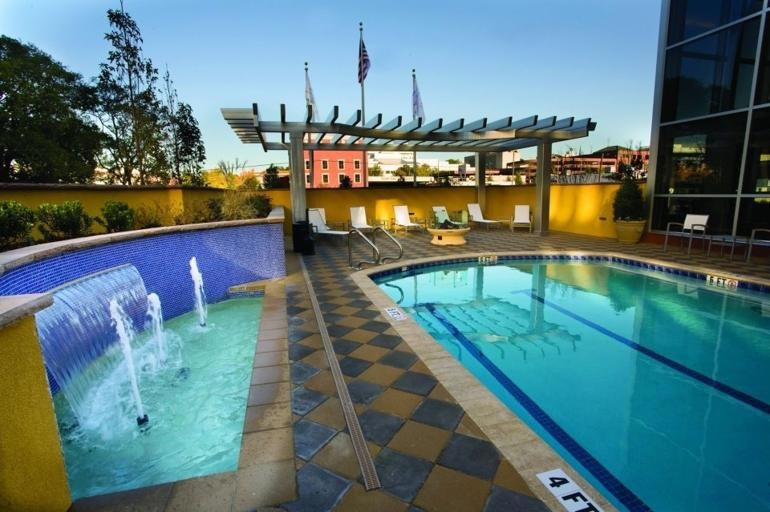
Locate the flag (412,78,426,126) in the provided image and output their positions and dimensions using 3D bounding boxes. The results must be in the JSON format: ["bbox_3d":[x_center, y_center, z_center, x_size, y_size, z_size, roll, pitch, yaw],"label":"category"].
[{"bbox_3d":[1.026,-4.996,13.644,0.441,1.538,0.434,16,37,33],"label":"flag"}]

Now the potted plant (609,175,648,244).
[{"bbox_3d":[6.507,-1.193,11.409,0.870,1.664,0.628,0,14,12],"label":"potted plant"}]

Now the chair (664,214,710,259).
[{"bbox_3d":[7.410,-0.547,10.506,0.632,0.764,0.586,-10,12,-42],"label":"chair"}]
